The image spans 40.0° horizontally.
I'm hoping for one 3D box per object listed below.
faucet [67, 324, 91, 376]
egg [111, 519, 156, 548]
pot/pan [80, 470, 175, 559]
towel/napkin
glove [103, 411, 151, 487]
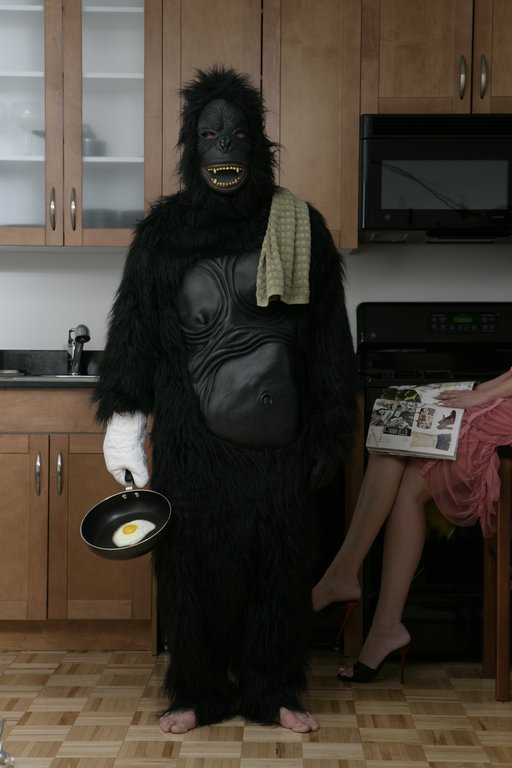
[{"bbox_3d":[-0.588,-0.106,2.342,0.076,0.167,0.218,1,-2,-15],"label":"faucet"},{"bbox_3d":[-0.227,0.283,1.304,0.080,0.042,0.076,1,-2,-9],"label":"egg"},{"bbox_3d":[-0.226,0.248,1.327,0.171,0.169,0.172,1,6,-2],"label":"pot/pan"},{"bbox_3d":[0.058,-0.267,1.337,0.087,0.249,0.140,0,-2,17],"label":"towel/napkin"},{"bbox_3d":[-0.247,0.124,1.356,0.078,0.147,0.084,1,6,-5],"label":"glove"}]
